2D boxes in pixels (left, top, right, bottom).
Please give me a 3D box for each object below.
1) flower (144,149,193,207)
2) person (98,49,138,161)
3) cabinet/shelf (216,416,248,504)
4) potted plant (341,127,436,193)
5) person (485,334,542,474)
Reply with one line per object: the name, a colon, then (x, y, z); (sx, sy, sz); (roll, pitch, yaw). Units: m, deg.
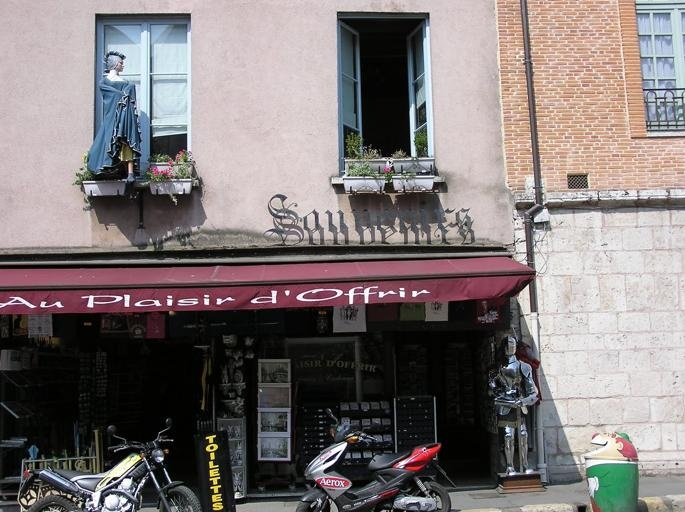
flower: (-2.924, -1.364, 26.579); (0.833, 0.842, 0.489); (-3, -35, 1)
person: (-3.845, -2.499, 26.527); (0.670, 2.096, 0.414); (-5, -7, 18)
cabinet/shelf: (-1.841, 3.494, 26.462); (0.476, 1.408, 0.335); (-2, -7, -5)
potted plant: (0.834, -1.589, 26.841); (1.409, 0.666, 0.960); (1, -4, -1)
person: (2.974, 2.563, 26.313); (0.725, 2.334, 0.467); (-8, -9, 40)
